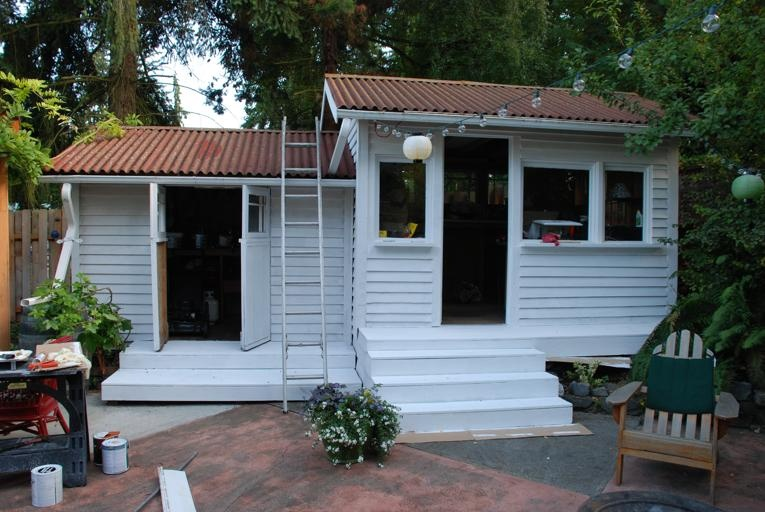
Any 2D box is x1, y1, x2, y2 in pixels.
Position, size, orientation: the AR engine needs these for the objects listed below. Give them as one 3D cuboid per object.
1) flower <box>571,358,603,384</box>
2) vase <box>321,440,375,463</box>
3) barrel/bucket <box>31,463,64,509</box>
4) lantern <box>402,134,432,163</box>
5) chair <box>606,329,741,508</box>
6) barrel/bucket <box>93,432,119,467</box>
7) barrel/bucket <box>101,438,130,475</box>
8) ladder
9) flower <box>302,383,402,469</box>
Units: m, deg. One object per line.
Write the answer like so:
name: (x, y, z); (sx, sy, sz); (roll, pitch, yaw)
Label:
flower: (3.328, 1.859, 10.509); (0.392, 0.270, 0.420); (-9, 3, 21)
vase: (-0.486, 2.588, 8.486); (0.405, 0.183, 0.393); (2, -4, -25)
barrel/bucket: (-4.045, 2.811, 7.900); (0.444, 0.449, 0.428); (0, -2, 0)
lantern: (0.524, -1.575, 9.535); (0.458, 0.382, 0.427); (0, 6, 3)
chair: (3.831, 2.036, 8.382); (1.457, 1.637, 1.875); (2, 7, 35)
barrel/bucket: (-3.680, 2.528, 8.508); (0.409, 0.406, 0.394); (1, 4, 0)
barrel/bucket: (-3.486, 2.604, 8.388); (0.343, 0.360, 0.348); (1, 4, 0)
ladder: (-1.338, 0.036, 10.968); (0.775, 4.587, 2.077); (0, 1, -6)
flower: (-0.436, 2.241, 8.859); (1.133, 0.764, 1.112); (2, -3, -6)
